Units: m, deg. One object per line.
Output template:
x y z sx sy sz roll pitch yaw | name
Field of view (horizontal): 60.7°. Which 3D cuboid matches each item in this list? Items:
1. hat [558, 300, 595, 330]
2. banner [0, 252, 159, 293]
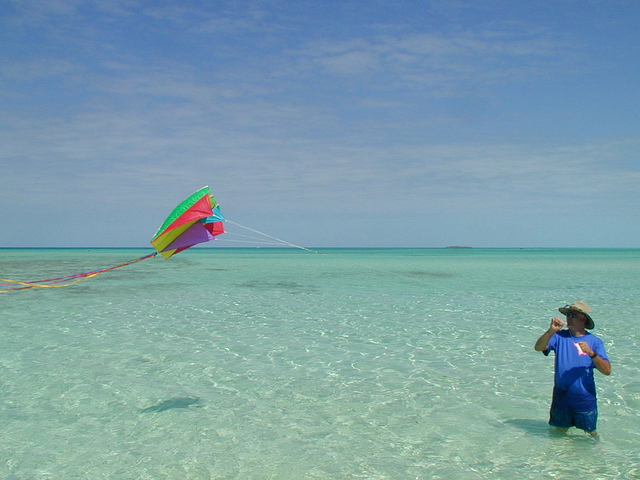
5.610 1.628 11.983 0.641 0.647 0.800 2 12 16 | hat
-25.189 3.195 57.185 19.749 1.926 1.836 -5 34 -10 | banner
